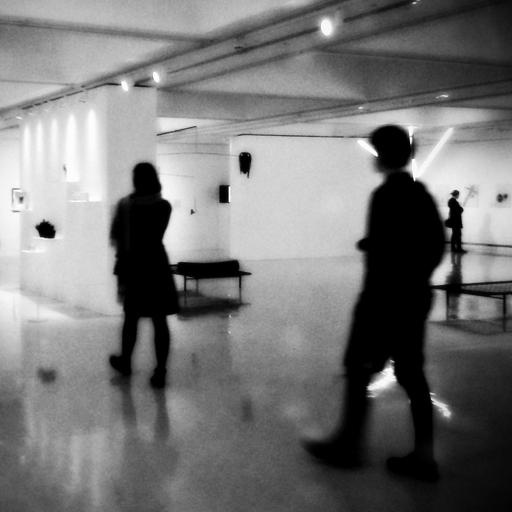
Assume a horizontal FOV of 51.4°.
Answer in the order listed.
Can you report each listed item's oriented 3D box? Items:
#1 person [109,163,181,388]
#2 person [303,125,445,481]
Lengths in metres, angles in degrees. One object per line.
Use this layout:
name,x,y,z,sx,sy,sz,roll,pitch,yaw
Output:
person,-0.974,0.146,4.545,0.353,1.273,0.840,-4,3,-34
person,0.584,0.217,2.520,0.608,1.654,0.230,-1,3,43
